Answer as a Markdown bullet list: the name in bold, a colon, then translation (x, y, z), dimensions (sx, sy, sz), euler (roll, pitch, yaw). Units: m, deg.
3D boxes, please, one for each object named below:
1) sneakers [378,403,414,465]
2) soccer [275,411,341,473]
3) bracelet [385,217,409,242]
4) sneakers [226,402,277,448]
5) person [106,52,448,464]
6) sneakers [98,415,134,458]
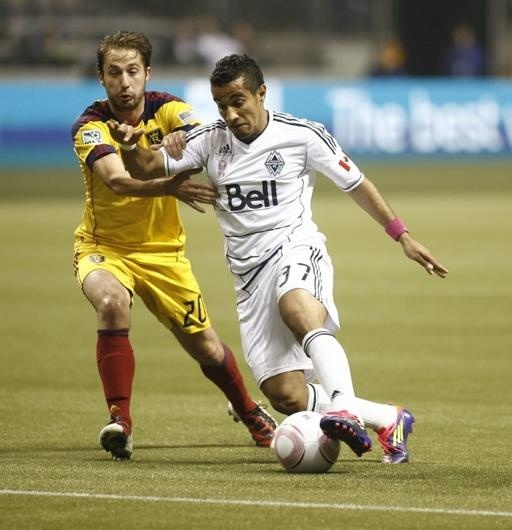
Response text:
- **sneakers**: translation (0.668, 0.806, 4.214), dimensions (0.155, 0.264, 0.107), euler (-3, -3, 1)
- **soccer**: translation (0.197, 0.768, 3.993), dimensions (0.321, 0.251, 0.271), euler (3, 9, 0)
- **bracelet**: translation (0.668, -0.172, 4.290), dimensions (0.096, 0.089, 0.129), euler (-45, 1, 1)
- **sneakers**: translation (-0.012, 0.839, 4.719), dimensions (0.305, 0.125, 0.113), euler (34, 50, 26)
- **person**: translation (0.101, -0.052, 4.289), dimensions (1.551, 1.967, 0.893), euler (3, 5, 42)
- **sneakers**: translation (-0.650, 0.799, 4.132), dimensions (0.099, 0.249, 0.126), euler (-7, 56, -4)
